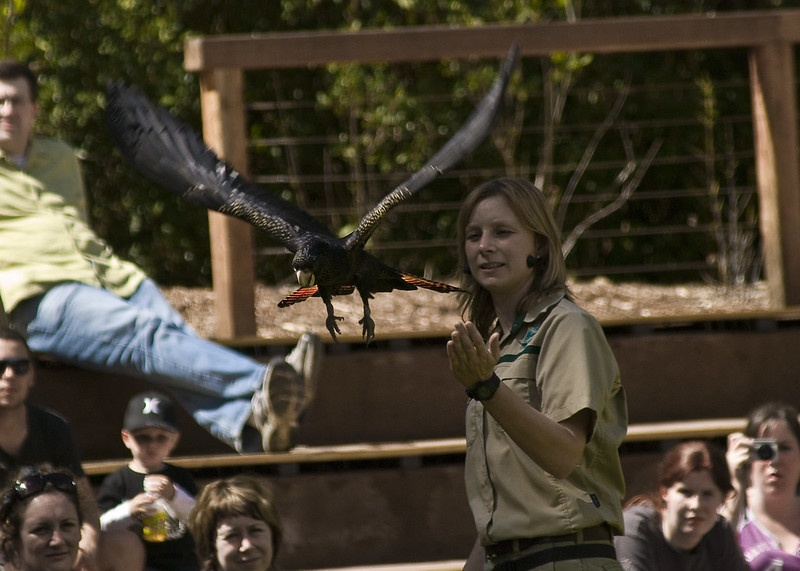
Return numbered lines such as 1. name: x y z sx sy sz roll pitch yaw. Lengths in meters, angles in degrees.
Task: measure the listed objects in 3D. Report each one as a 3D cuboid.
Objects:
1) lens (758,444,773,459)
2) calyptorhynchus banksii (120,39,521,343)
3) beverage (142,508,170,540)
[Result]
1. lens: 2.174 1.005 16.128 0.087 0.086 0.021 0 -5 21
2. calyptorhynchus banksii: -0.195 -0.276 16.934 1.673 1.069 0.755 -5 -11 -27
3. beverage: -1.457 1.438 16.135 0.179 0.178 0.174 -1 -9 -3
